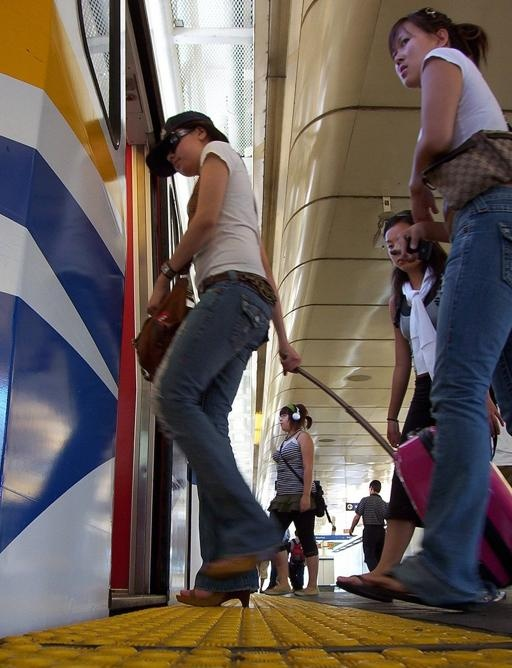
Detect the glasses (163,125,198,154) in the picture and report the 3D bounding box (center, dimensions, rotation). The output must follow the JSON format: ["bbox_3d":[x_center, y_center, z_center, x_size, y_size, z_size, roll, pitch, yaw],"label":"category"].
[{"bbox_3d":[-0.251,-0.640,1.710,0.090,0.029,0.066,-34,9,-36],"label":"glasses"}]

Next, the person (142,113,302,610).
[{"bbox_3d":[-0.145,-0.022,1.578,0.425,1.587,0.465,-1,-18,2],"label":"person"}]

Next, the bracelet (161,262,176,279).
[{"bbox_3d":[-0.259,-0.185,1.511,0.046,0.046,0.030,-17,-7,16],"label":"bracelet"}]
